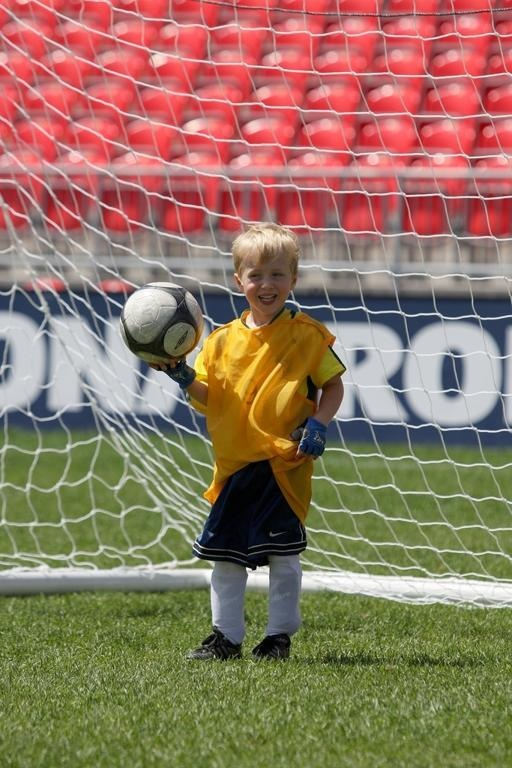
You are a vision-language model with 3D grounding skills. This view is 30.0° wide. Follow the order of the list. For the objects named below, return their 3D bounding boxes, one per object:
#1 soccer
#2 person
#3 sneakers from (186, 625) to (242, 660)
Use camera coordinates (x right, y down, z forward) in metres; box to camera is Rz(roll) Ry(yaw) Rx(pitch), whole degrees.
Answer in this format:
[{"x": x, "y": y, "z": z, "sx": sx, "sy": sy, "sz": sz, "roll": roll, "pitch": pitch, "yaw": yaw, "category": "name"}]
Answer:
[{"x": -0.226, "y": -0.126, "z": 2.345, "sx": 0.201, "sy": 0.183, "sz": 0.185, "roll": -14, "pitch": -4, "yaw": -5, "category": "soccer"}, {"x": -0.017, "y": 0.123, "z": 2.327, "sx": 0.372, "sy": 0.891, "sz": 0.271, "roll": 5, "pitch": 1, "yaw": 24, "category": "person"}, {"x": -0.100, "y": 0.621, "z": 2.256, "sx": 0.127, "sy": 0.060, "sz": 0.131, "roll": 4, "pitch": 1, "yaw": 2, "category": "sneakers"}]
